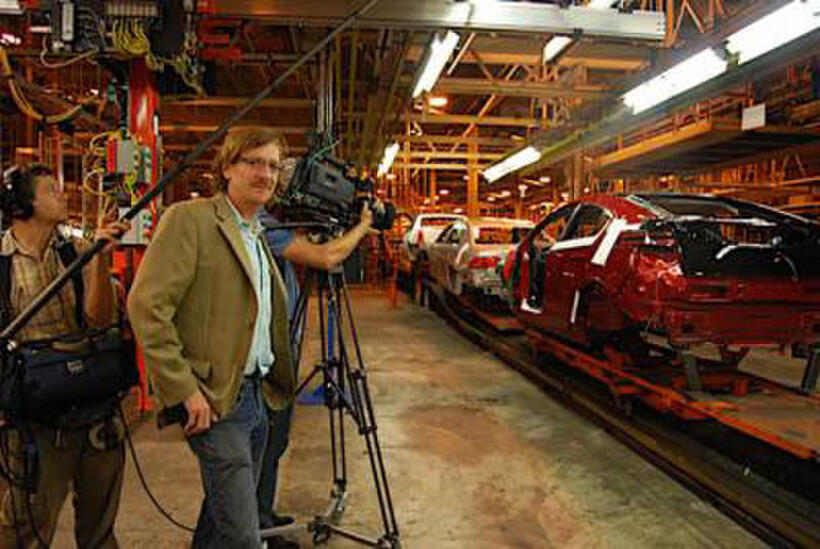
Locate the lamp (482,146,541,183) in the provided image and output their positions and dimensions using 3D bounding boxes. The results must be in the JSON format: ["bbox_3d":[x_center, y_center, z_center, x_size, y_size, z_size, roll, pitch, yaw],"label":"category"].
[{"bbox_3d":[2.417,-2.286,14.259,0.601,0.676,2.583,7,7,-8],"label":"lamp"}]

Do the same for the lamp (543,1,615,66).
[{"bbox_3d":[2.204,-3.024,8.349,0.506,0.674,0.969,5,7,-25],"label":"lamp"}]
